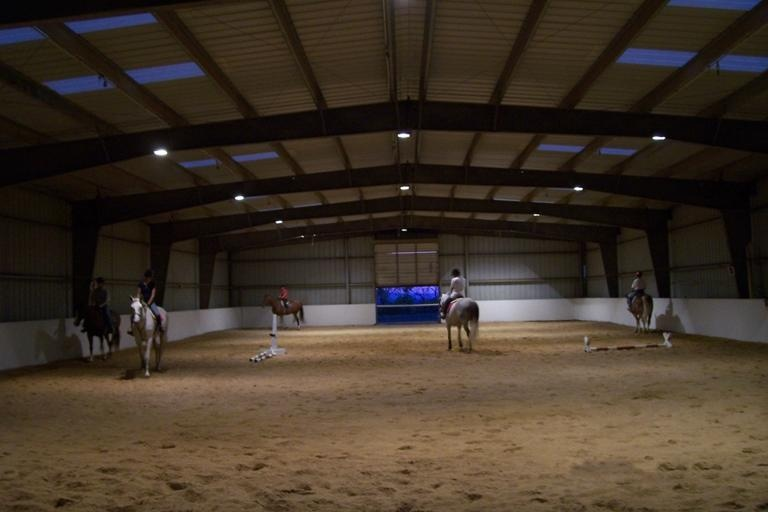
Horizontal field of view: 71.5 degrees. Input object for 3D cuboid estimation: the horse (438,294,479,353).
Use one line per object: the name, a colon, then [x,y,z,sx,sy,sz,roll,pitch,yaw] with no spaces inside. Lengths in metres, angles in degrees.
horse: [2.508,2.148,17.831,0.708,1.936,2.869,1,-9,-14]

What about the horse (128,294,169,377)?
horse: [-6.391,2.178,14.493,0.753,1.911,2.925,-2,-8,-11]

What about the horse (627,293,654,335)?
horse: [10.148,2.178,20.986,0.628,1.684,2.357,-4,-10,14]

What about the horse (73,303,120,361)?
horse: [-9.236,2.455,17.238,0.742,1.852,2.734,-4,-8,-4]

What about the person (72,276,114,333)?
person: [-9.098,1.544,16.788,0.792,1.707,1.270,-1,-7,0]

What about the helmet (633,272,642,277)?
helmet: [11.069,0.782,23.133,0.295,0.263,0.289,5,-6,-19]
